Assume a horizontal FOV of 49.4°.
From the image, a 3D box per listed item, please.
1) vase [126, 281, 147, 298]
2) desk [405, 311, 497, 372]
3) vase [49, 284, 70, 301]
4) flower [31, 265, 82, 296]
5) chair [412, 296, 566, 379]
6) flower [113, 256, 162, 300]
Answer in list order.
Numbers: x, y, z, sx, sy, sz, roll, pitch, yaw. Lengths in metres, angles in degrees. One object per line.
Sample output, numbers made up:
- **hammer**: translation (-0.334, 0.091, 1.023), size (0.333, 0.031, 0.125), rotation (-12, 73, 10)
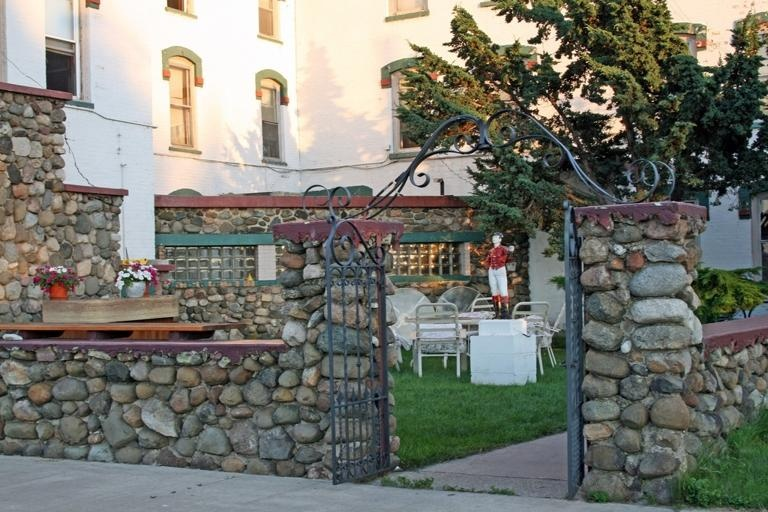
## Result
- **vase**: translation (-3.807, 0.526, 12.879), size (0.262, 0.181, 0.253), rotation (1, -1, 26)
- **desk**: translation (1.091, 1.420, 14.988), size (1.236, 0.781, 1.226), rotation (0, 5, 7)
- **vase**: translation (-4.748, 0.545, 12.224), size (0.220, 0.225, 0.236), rotation (3, -9, -26)
- **flower**: translation (-4.870, 0.365, 12.284), size (0.507, 0.340, 0.436), rotation (0, 1, 33)
- **chair**: translation (1.733, 1.544, 14.396), size (2.366, 1.260, 2.123), rotation (-2, -5, 11)
- **flower**: translation (-3.890, 0.358, 13.112), size (0.651, 0.650, 0.678), rotation (2, -3, -42)
